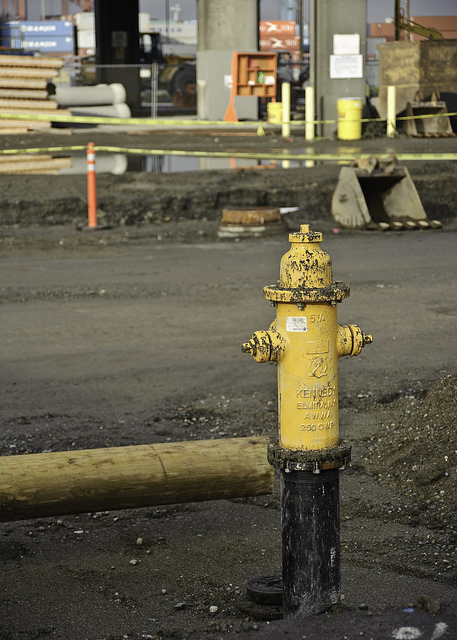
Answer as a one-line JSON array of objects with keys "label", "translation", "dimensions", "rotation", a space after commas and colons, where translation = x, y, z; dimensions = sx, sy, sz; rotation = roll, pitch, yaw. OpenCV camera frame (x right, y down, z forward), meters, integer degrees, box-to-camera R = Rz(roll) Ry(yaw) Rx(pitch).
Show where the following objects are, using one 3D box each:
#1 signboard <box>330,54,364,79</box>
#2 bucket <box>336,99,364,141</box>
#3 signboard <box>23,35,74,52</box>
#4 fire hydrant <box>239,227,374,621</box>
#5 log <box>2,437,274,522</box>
[{"label": "signboard", "translation": [2.267, -4.896, 20.263], "dimensions": [0.484, 0.469, 0.114], "rotation": [-7, 27, -16]}, {"label": "bucket", "translation": [2.248, -3.682, 19.386], "dimensions": [0.445, 0.754, 1.187], "rotation": [0, 10, 6]}, {"label": "signboard", "translation": [-10.896, -17.000, 64.613], "dimensions": [2.740, 1.221, 3.158], "rotation": [-2, 10, -4]}, {"label": "fire hydrant", "translation": [0.272, 0.363, 3.554], "dimensions": [0.432, 1.346, 0.200], "rotation": [-2, 10, -7]}, {"label": "log", "translation": [-0.341, 0.617, 4.079], "dimensions": [1.063, 0.239, 0.168], "rotation": [-5, 10, -19]}]
